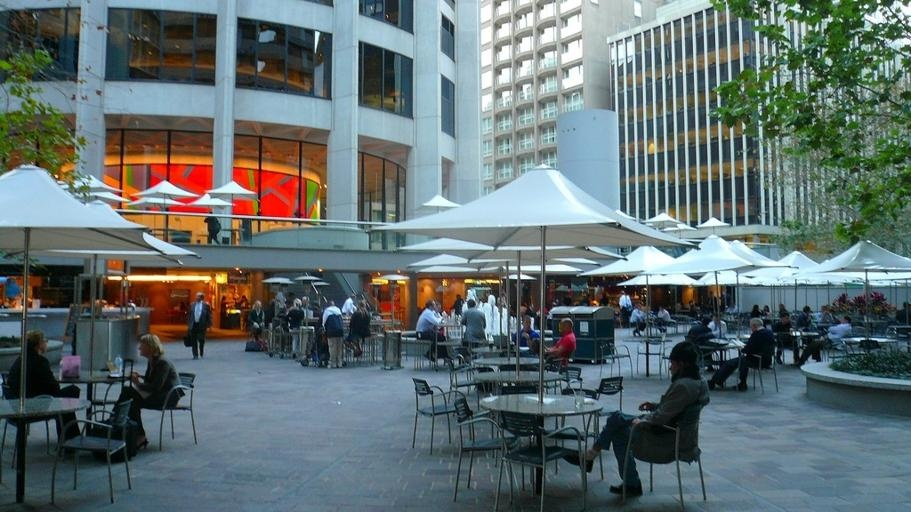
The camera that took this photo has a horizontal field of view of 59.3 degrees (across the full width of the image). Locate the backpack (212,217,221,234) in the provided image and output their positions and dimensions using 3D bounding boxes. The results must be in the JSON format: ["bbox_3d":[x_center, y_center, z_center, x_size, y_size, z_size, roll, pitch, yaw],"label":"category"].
[{"bbox_3d":[-11.139,-1.436,37.183,0.236,0.626,0.506,1,26,38],"label":"backpack"}]

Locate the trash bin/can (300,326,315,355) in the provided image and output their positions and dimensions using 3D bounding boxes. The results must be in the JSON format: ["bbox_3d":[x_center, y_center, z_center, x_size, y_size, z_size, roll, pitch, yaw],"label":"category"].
[{"bbox_3d":[-5.883,3.413,31.894,0.486,1.076,1.385,1,-5,-14],"label":"trash bin/can"}]

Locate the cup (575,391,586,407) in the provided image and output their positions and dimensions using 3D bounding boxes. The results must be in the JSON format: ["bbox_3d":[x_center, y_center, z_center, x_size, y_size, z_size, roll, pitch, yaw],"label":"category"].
[{"bbox_3d":[3.175,3.526,19.799,0.293,0.295,0.276,-1,-9,0],"label":"cup"}]

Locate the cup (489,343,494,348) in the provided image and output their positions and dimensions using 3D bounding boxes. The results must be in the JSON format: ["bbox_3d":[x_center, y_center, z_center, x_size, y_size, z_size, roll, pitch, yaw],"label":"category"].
[{"bbox_3d":[1.436,3.475,31.319,0.276,0.237,0.134,0,-10,-3],"label":"cup"}]

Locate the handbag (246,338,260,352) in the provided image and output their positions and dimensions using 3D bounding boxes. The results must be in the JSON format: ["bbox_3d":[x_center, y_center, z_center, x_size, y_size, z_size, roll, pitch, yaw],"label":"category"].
[{"bbox_3d":[-8.882,3.899,35.059,0.609,0.528,0.545,2,-17,-2],"label":"handbag"}]
